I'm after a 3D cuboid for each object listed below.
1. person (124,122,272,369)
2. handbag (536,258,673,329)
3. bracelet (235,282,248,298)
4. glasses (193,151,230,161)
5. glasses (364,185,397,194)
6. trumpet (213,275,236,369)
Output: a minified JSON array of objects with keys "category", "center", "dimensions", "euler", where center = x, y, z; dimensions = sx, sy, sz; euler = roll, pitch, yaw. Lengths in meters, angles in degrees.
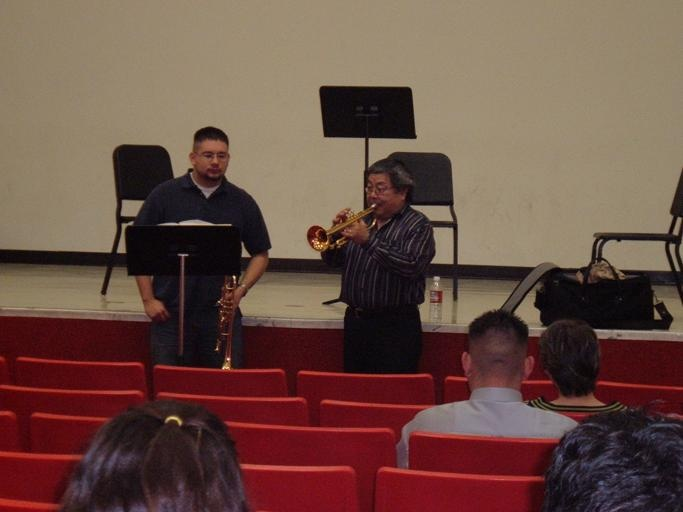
[{"category":"person","center":[-0.855,-0.049,4.902],"dimensions":[0.811,1.460,0.498],"euler":[2,0,-7]},{"category":"handbag","center":[1.713,0.268,5.274],"dimensions":[0.611,0.328,0.486],"euler":[1,-4,6]},{"category":"bracelet","center":[-0.623,0.203,4.942],"dimensions":[0.032,0.037,0.131],"euler":[30,10,-1]},{"category":"glasses","center":[-0.813,-0.617,4.884],"dimensions":[0.233,0.074,0.181],"euler":[3,0,-14]},{"category":"glasses","center":[0.234,-0.423,4.909],"dimensions":[0.223,0.087,0.092],"euler":[3,0,29]},{"category":"trumpet","center":[-0.718,0.395,4.901],"dimensions":[0.139,0.578,0.232],"euler":[4,-5,-24]}]
